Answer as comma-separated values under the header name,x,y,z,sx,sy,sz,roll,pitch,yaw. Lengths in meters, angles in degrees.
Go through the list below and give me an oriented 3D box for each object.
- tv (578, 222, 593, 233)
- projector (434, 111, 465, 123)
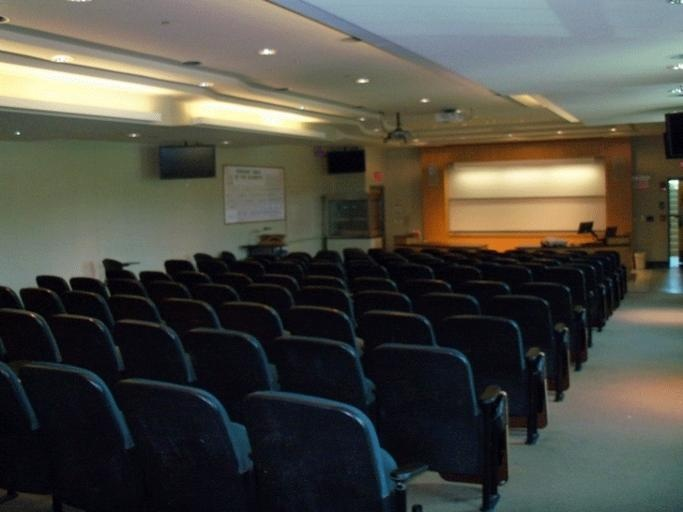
name,x,y,z,sx,sy,sz,roll,pitch,yaw
tv,6.217,-0.720,13.263,0.513,0.312,0.121,1,6,-40
projector,2.276,-2.947,11.015,0.464,0.157,0.333,4,10,28
